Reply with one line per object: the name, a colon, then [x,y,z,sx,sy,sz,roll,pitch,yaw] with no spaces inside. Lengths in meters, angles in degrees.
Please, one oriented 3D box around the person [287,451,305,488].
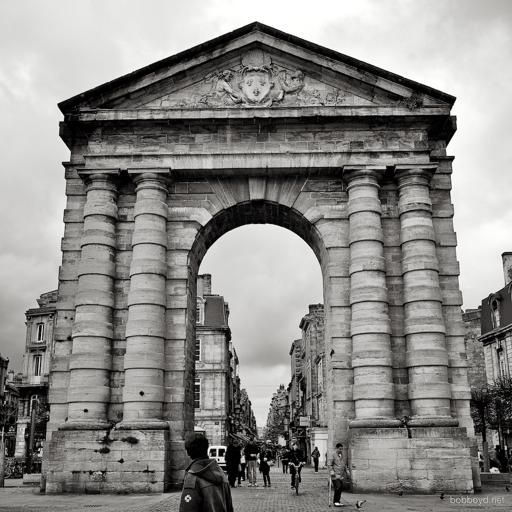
person: [1.387,7.529,25.265,0.609,0.829,1.348,0,-38,-1]
